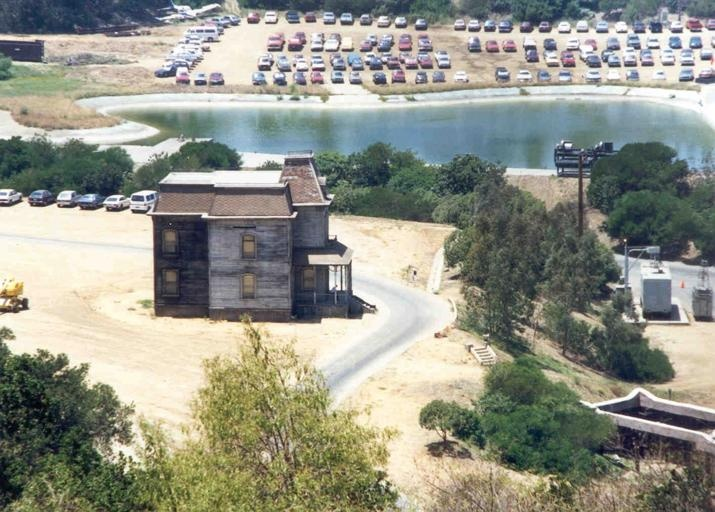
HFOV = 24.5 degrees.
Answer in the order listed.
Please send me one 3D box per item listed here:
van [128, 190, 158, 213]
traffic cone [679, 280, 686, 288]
[{"bbox_3d":[-27.672,-7.018,213.609,3.280,2.593,2.385,-2,8,-8],"label":"van"},{"bbox_3d":[40.914,3.541,206.873,0.681,0.923,0.765,1,0,-17],"label":"traffic cone"}]
